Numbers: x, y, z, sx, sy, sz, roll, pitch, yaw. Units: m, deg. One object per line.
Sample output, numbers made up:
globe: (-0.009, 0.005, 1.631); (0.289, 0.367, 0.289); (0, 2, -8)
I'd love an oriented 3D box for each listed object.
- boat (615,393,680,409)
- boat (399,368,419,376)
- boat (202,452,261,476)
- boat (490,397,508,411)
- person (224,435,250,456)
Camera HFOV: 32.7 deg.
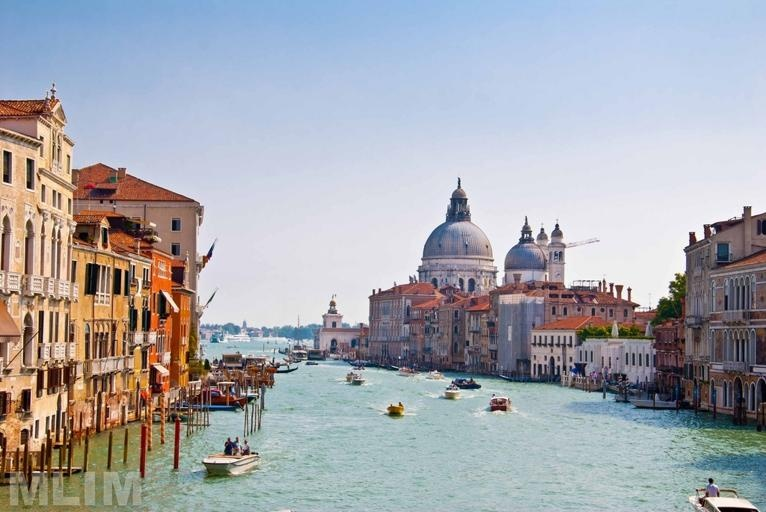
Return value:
boat: (26.347, 14.353, 132.372); (6.424, 1.232, 1.667); (-1, -8, 33)
boat: (4.066, 19.235, 219.738); (2.477, 0.959, 1.341); (5, -5, -43)
boat: (-10.316, 14.094, 88.893); (1.664, 1.445, 3.774); (-9, -12, 35)
boat: (11.590, 14.647, 130.443); (1.862, 1.494, 2.697); (-3, -10, 3)
person: (-10.277, 13.184, 90.910); (1.356, 1.098, 1.891); (11, -4, -29)
